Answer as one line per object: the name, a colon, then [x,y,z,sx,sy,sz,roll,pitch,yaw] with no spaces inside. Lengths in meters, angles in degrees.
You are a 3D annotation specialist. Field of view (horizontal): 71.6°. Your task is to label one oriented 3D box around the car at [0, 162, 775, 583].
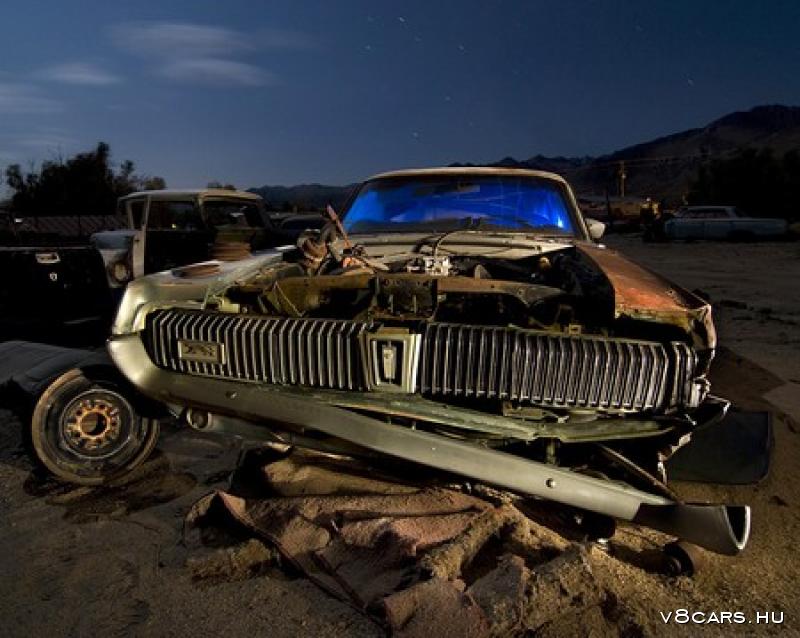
car: [0.561,0.180,4.366,4.460,1.173,3.591,5,5,15]
